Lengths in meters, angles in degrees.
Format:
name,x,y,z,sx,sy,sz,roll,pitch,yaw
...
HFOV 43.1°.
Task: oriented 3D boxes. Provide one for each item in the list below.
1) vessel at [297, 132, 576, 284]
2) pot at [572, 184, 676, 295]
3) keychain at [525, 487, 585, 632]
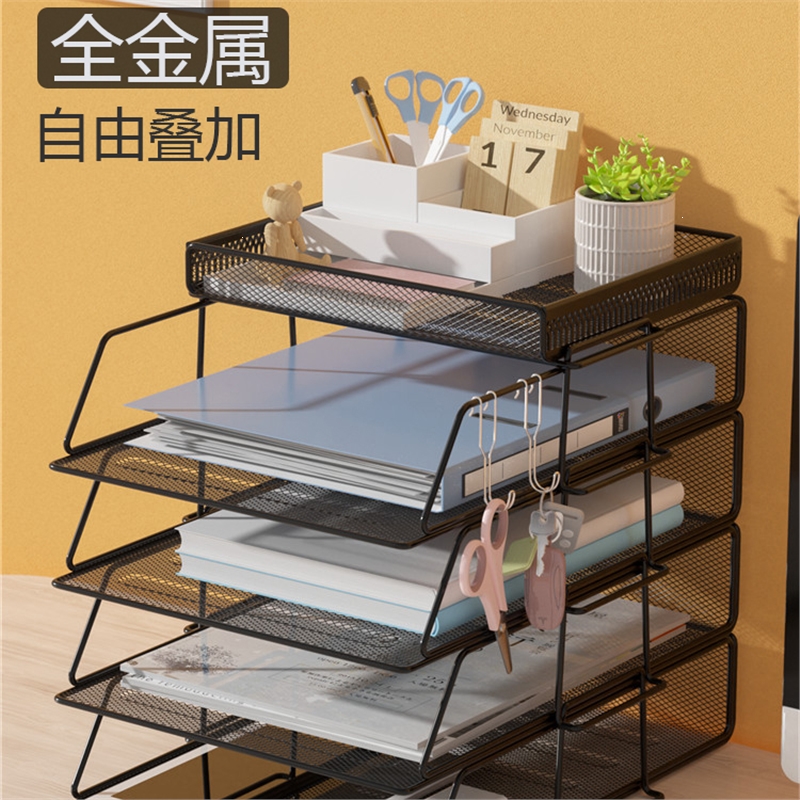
name,x,y,z,sx,sy,sz,roll,pitch,yaw
vessel,0.039,-0.208,1.093,0.238,0.076,0.162,19,36,22
pot,0.215,-0.156,0.972,0.123,0.093,0.110,3,15,8
keychain,0.132,0.144,0.872,0.032,0.114,0.047,-13,12,-36
